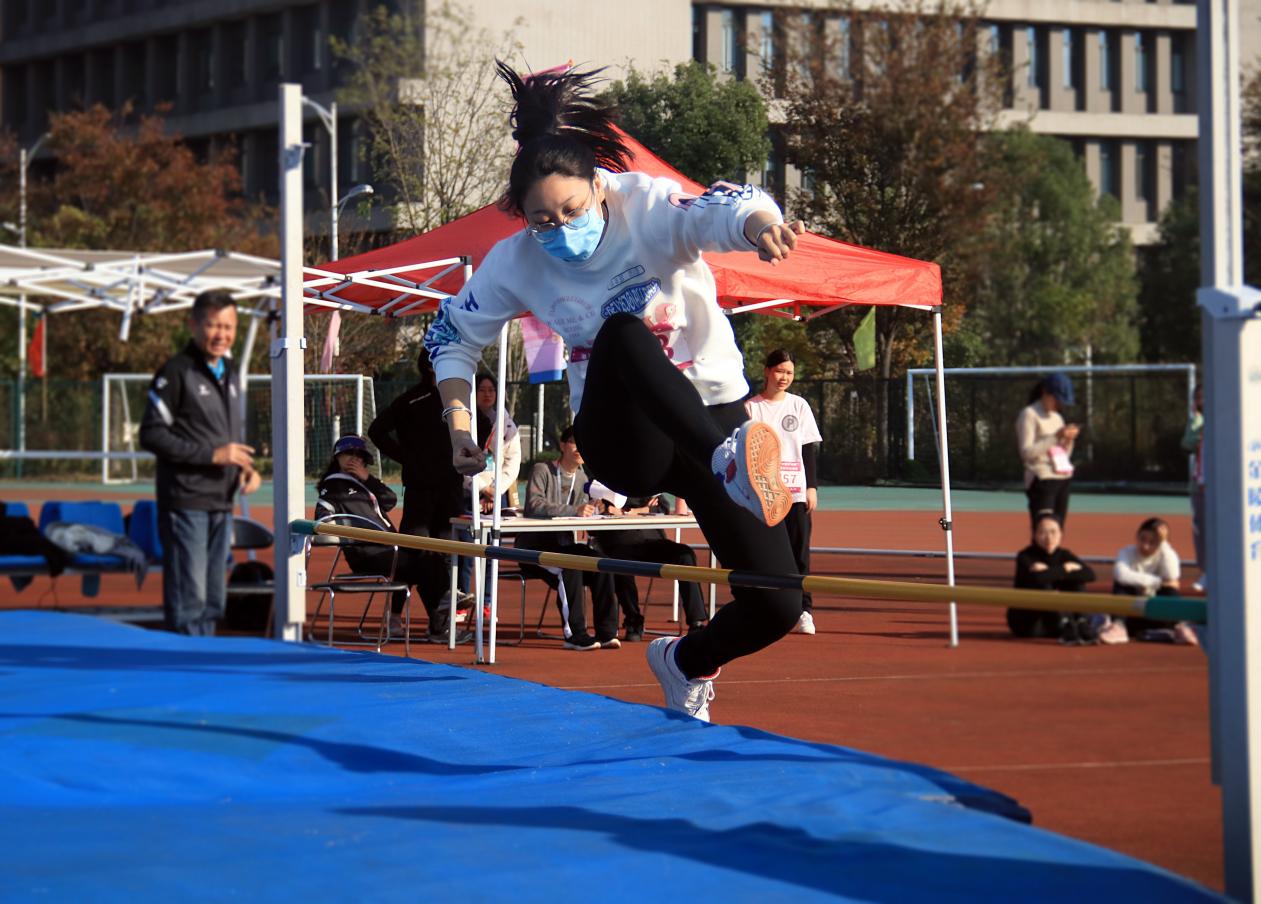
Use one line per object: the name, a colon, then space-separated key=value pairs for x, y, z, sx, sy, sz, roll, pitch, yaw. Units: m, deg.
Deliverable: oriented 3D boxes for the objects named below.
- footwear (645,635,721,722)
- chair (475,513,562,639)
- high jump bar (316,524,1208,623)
footwear: x=0.568 y=2.203 z=23.034 sx=0.493 sy=1.108 sz=0.389 roll=-14 pitch=3 yaw=24
chair: x=-1.425 y=1.334 z=27.023 sx=0.876 sy=1.157 sz=0.874 roll=15 pitch=-2 yaw=45
high jump bar: x=1.215 y=1.379 z=26.002 sx=8.637 sy=0.184 sz=0.607 roll=5 pitch=26 yaw=14
